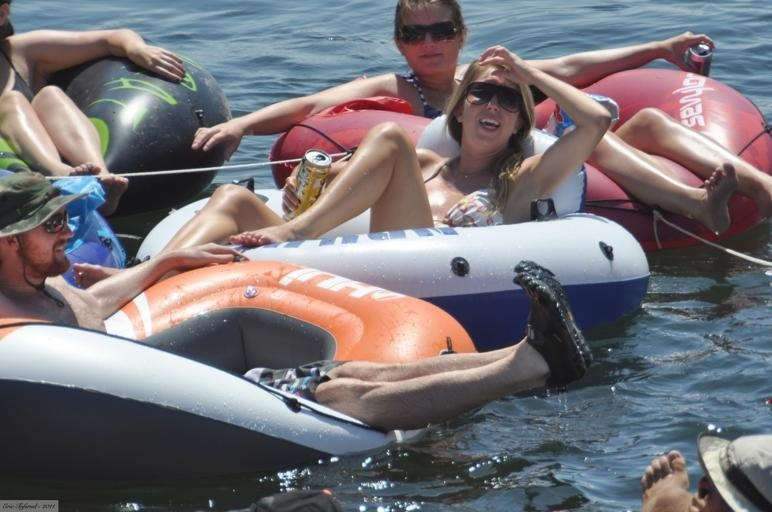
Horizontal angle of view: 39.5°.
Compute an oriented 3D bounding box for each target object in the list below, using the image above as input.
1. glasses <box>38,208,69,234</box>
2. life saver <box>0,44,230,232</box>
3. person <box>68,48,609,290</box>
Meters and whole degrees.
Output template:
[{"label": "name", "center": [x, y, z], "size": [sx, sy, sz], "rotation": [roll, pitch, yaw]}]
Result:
[{"label": "glasses", "center": [-1.657, -0.174, 5.359], "size": [0.124, 0.037, 0.118], "rotation": [-4, 19, 30]}, {"label": "life saver", "center": [-1.916, -0.913, 7.902], "size": [1.380, 0.329, 1.253], "rotation": [-14, 27, -15]}, {"label": "person", "center": [-0.224, -0.582, 6.881], "size": [2.928, 1.076, 1.557], "rotation": [1, 3, -14]}]
